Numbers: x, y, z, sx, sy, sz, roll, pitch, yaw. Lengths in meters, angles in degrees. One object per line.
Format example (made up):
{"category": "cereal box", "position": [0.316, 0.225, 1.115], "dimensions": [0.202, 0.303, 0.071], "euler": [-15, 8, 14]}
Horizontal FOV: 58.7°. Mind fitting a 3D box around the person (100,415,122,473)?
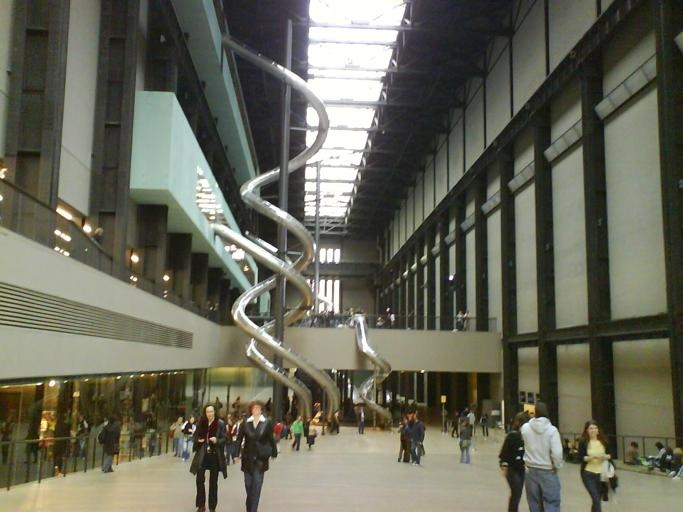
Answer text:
{"category": "person", "position": [-6.210, 5.024, 16.205], "dimensions": [0.500, 1.460, 1.367], "euler": [5, -19, -21]}
